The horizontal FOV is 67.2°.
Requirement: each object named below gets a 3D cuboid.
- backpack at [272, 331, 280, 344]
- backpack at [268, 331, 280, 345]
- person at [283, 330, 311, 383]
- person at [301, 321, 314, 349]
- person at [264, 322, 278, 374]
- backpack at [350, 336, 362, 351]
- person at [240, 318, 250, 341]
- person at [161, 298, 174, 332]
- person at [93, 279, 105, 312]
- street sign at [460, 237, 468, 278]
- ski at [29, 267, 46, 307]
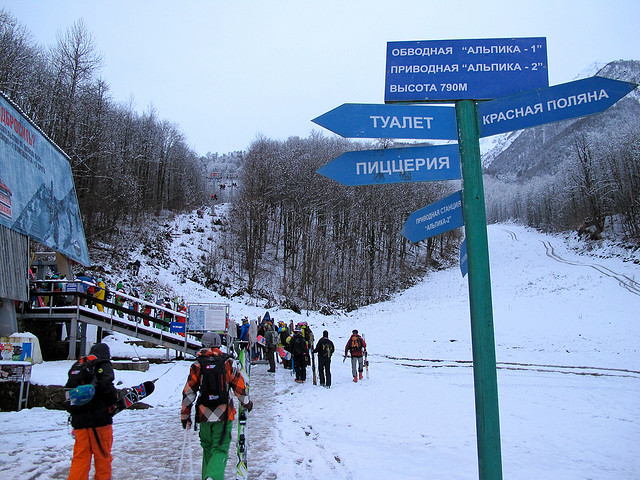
[{"bbox_3d":[-1.948,4.326,21.565,0.321,0.726,0.476,0,-3,-7],"label":"backpack"},{"bbox_3d":[-2.013,4.363,21.627,0.392,0.887,0.568,-3,-9,0],"label":"backpack"},{"bbox_3d":[-0.856,4.835,19.891,0.704,1.779,1.007,-8,3,-6],"label":"person"},{"bbox_3d":[-0.548,4.406,22.366,0.279,0.956,0.617,-1,3,-16],"label":"person"},{"bbox_3d":[-2.120,4.928,21.458,0.669,1.882,0.608,-6,3,15],"label":"person"},{"bbox_3d":[1.433,4.171,19.494,0.539,0.937,0.477,-1,-17,5],"label":"backpack"},{"bbox_3d":[-3.751,4.462,24.051,0.304,0.958,0.692,-5,-16,20],"label":"person"},{"bbox_3d":[-7.414,3.635,23.393,0.799,0.856,2.374,6,-29,-10],"label":"person"},{"bbox_3d":[-9.816,2.525,21.481,0.490,1.494,2.011,-9,3,-25],"label":"person"},{"bbox_3d":[2.285,0.247,7.627,0.110,0.417,0.512,-6,4,16],"label":"street sign"},{"bbox_3d":[-12.462,2.085,21.247,0.242,1.939,0.089,-12,-29,-37],"label":"ski"}]
